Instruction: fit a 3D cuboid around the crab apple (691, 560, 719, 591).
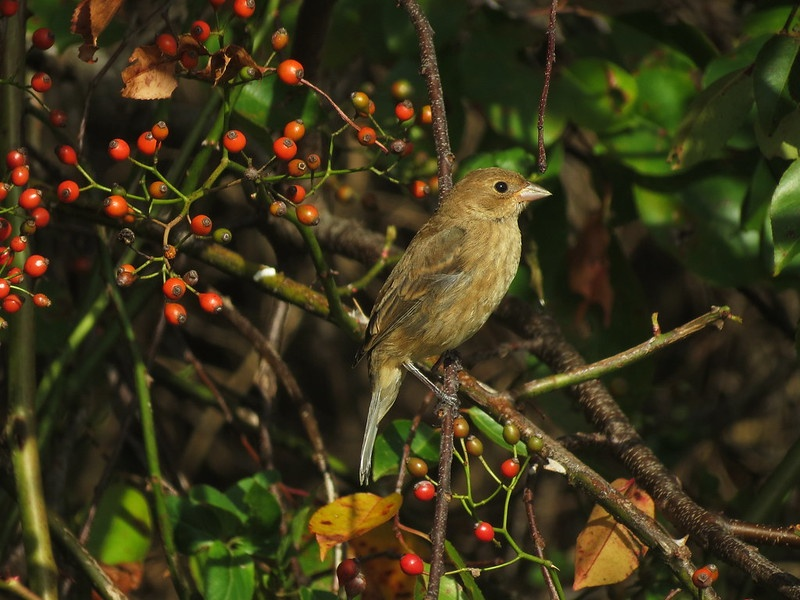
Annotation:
[{"bbox_3d":[1.281,1.150,4.149,0.069,0.073,0.123,14,11,32],"label":"crab apple"}]
